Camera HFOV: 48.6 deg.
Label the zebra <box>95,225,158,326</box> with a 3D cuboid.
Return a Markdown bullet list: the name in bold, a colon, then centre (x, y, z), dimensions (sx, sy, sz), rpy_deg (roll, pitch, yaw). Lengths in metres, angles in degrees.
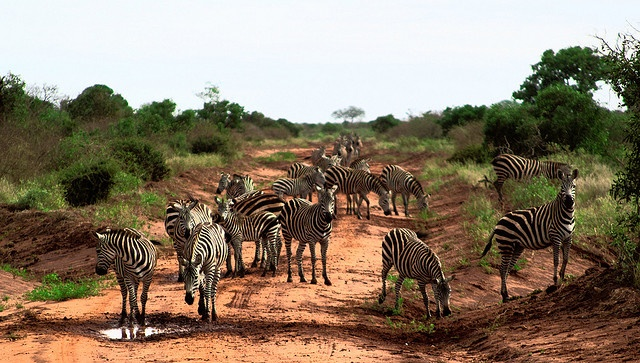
- **zebra**: centre (-7.120, 3.483, 26.074), dimensions (1.883, 3.484, 0.793), rpy_deg (1, -1, 5)

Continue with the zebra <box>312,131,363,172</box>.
- **zebra**: centre (2.547, -2.627, 44.753), dimensions (2.566, 3.088, 7.832), rpy_deg (0, 0, 7)

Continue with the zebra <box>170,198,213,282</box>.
- **zebra**: centre (-5.476, 2.449, 29.256), dimensions (1.499, 3.367, 5.026), rpy_deg (12, 8, -9)

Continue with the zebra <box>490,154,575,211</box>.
- **zebra**: centre (10.546, 0.257, 34.816), dimensions (1.062, 2.868, 4.533), rpy_deg (-2, 13, -38)

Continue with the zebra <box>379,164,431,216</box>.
- **zebra**: centre (4.916, 0.193, 36.546), dimensions (1.200, 2.571, 4.376), rpy_deg (-5, 7, -24)

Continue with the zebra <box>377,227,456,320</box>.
- **zebra**: centre (3.794, 3.701, 27.541), dimensions (1.372, 3.033, 4.934), rpy_deg (0, 3, -20)

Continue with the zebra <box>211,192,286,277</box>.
- **zebra**: centre (-3.068, 2.197, 28.934), dimensions (3.512, 2.886, 1.050), rpy_deg (6, -2, -37)

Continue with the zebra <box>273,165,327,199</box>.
- **zebra**: centre (-1.074, 0.318, 35.033), dimensions (2.696, 1.806, 0.846), rpy_deg (-7, 8, 12)

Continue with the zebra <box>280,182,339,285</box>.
- **zebra**: centre (-0.392, 2.102, 28.970), dimensions (2.089, 4.149, 2.331), rpy_deg (0, -3, -10)

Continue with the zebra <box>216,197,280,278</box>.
- **zebra**: centre (-2.995, 2.359, 28.925), dimensions (3.435, 2.718, 0.963), rpy_deg (5, -4, -32)
